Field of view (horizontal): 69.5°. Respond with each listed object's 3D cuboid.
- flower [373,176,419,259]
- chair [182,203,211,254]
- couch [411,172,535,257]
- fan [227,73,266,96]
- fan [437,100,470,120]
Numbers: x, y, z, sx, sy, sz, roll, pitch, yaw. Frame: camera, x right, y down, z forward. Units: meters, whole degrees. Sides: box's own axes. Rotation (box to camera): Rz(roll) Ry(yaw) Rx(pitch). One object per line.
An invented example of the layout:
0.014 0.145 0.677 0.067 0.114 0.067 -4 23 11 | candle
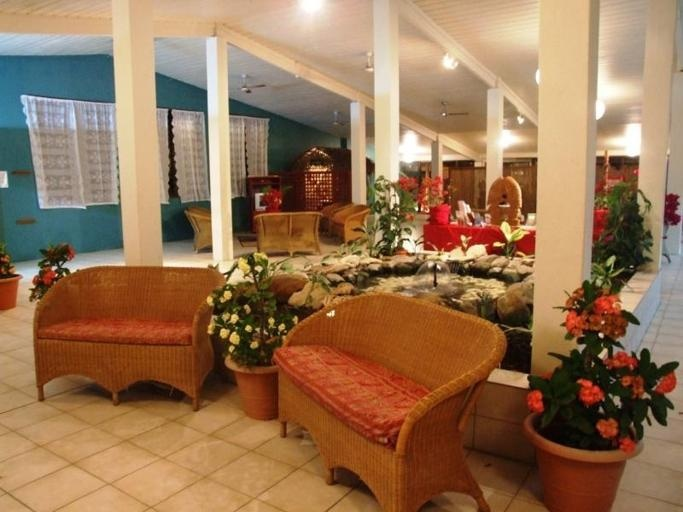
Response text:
0.666 -0.524 6.227 0.539 0.948 1.109 1 13 6 | flower
-3.150 -0.575 10.620 0.794 1.015 1.041 -10 18 -16 | chair
2.028 -0.554 7.189 1.443 1.117 1.491 -1 13 -2 | couch
-2.192 -4.029 11.618 0.984 0.368 0.963 -9 15 -32 | fan
2.911 -3.892 13.193 0.779 0.293 0.755 -1 2 2 | fan
